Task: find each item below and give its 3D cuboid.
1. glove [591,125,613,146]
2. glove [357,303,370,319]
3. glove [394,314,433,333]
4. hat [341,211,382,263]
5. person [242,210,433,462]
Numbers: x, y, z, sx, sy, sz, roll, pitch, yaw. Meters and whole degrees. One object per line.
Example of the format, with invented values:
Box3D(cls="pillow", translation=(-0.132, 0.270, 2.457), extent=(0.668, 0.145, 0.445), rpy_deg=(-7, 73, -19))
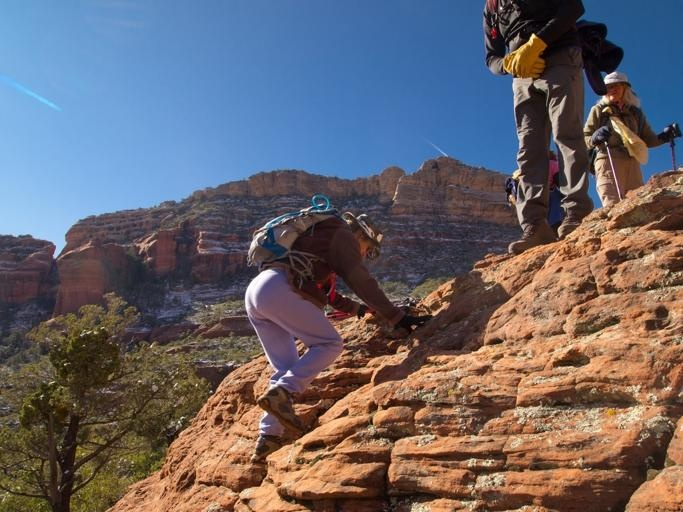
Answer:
Box3D(cls="glove", translation=(3.125, -1.424, 8.347), extent=(0.248, 0.266, 0.192), rpy_deg=(-11, -7, 33))
Box3D(cls="glove", translation=(0.229, 0.592, 7.429), extent=(0.125, 0.124, 0.162), rpy_deg=(-2, -5, 8))
Box3D(cls="glove", translation=(0.767, 0.719, 7.409), extent=(0.215, 0.079, 0.204), rpy_deg=(-22, -20, 20))
Box3D(cls="hat", translation=(0.244, -0.261, 7.697), extent=(0.213, 0.550, 0.385), rpy_deg=(-41, 7, -8))
Box3D(cls="person", translation=(-0.217, 0.568, 7.000), extent=(1.498, 2.233, 0.823), rpy_deg=(-9, -19, -9))
